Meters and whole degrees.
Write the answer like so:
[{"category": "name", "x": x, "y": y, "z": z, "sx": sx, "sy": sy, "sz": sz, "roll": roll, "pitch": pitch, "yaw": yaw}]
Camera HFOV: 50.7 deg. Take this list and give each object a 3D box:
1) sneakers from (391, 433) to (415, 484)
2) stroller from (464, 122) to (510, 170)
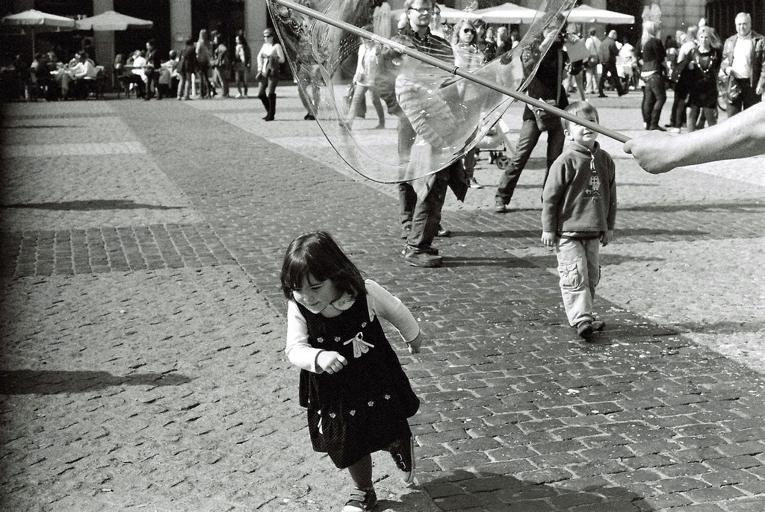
[{"category": "sneakers", "x": 0.125, "y": 1.105, "z": 4.481, "sx": 0.126, "sy": 0.308, "sz": 0.106, "roll": -17, "pitch": 24, "yaw": -6}, {"category": "stroller", "x": 1.637, "y": -1.937, "z": 12.640, "sx": 0.634, "sy": 0.571, "sz": 0.511, "roll": 0, "pitch": 56, "yaw": 2}]
